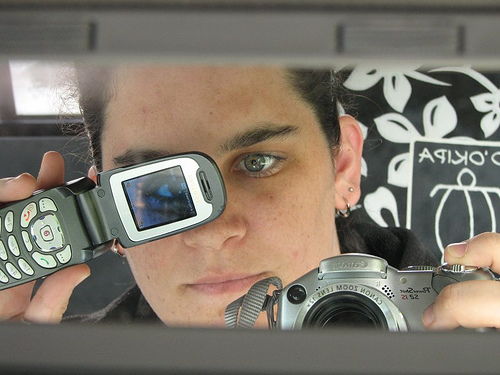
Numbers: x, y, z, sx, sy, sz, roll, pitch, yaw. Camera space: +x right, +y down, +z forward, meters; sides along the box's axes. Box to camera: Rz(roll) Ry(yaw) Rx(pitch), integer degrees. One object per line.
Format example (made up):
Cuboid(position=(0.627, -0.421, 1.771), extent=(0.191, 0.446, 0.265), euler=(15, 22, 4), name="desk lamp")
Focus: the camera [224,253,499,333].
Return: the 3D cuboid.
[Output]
Cuboid(position=(0.141, 0.135, 0.851), extent=(0.340, 0.098, 0.125), euler=(1, 3, -2), name="camera")
